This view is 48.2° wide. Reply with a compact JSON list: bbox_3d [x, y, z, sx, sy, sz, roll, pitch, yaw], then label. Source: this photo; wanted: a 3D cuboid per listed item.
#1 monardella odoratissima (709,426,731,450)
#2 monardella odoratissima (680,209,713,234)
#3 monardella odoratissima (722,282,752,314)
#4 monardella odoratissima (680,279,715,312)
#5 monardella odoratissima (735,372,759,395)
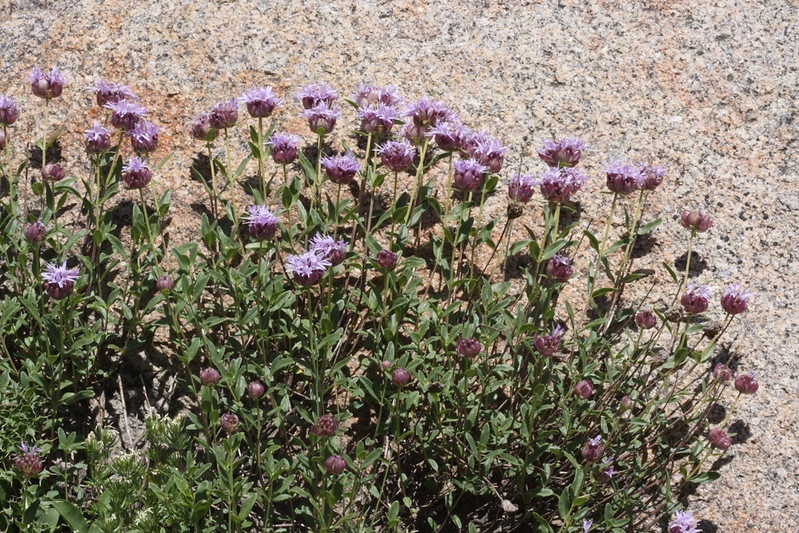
[{"bbox_3d":[1.641,0.890,4.643,0.081,0.130,0.107,-12,103,-12],"label":"monardella odoratissima"},{"bbox_3d":[1.627,-0.253,4.892,0.147,0.130,0.078,14,33,19],"label":"monardella odoratissima"},{"bbox_3d":[1.777,0.164,4.754,0.119,0.167,0.172,10,56,1],"label":"monardella odoratissima"},{"bbox_3d":[1.569,0.162,4.728,0.158,0.211,0.150,3,103,-9],"label":"monardella odoratissima"},{"bbox_3d":[1.821,0.618,4.677,0.100,0.107,0.109,11,97,-12],"label":"monardella odoratissima"}]
